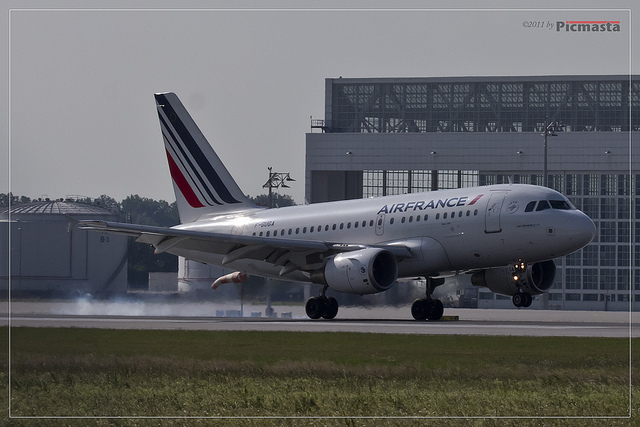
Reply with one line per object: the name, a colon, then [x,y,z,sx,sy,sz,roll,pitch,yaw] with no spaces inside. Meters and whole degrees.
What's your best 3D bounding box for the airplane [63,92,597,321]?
airplane: [2.328,0.974,59.617,15.346,5.988,14.108,-4,-3,38]
